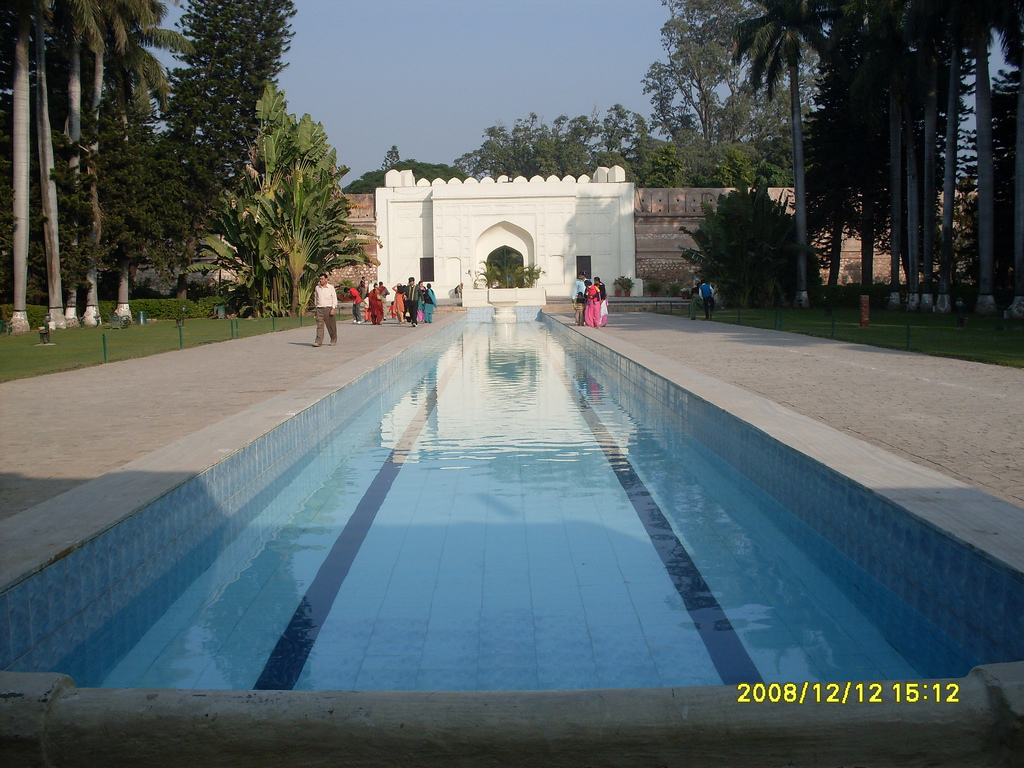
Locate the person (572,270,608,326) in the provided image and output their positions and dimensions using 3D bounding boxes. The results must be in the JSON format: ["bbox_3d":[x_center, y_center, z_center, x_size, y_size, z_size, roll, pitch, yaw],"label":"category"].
[{"bbox_3d":[2.211,-2.364,22.648,0.857,1.343,2.241,0,8,5],"label":"person"}]

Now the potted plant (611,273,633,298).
[{"bbox_3d":[5.972,-5.455,43.520,1.031,1.224,0.972,-1,5,-5],"label":"potted plant"}]
